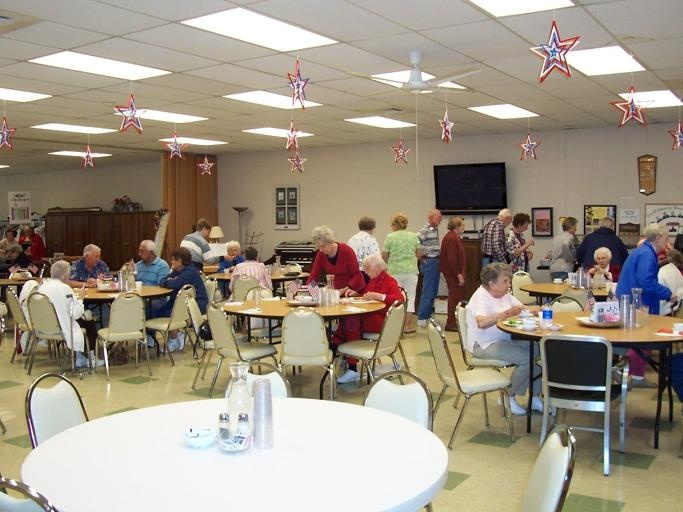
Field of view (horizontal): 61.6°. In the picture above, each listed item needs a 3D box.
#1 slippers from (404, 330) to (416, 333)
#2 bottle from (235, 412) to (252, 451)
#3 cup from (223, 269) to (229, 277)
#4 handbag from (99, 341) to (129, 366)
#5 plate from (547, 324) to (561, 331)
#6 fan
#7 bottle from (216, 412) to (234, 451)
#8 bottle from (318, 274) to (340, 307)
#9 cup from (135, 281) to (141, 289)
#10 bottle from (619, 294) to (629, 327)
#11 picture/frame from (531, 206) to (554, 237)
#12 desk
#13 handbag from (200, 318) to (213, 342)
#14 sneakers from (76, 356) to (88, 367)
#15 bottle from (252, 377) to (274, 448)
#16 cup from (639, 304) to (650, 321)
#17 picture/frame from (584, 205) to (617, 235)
[{"bbox_3d":[1.080,1.210,9.190,0.062,0.071,0.179,-4,-9,36],"label":"slippers"},{"bbox_3d":[-0.478,0.839,2.777,0.070,0.162,0.151,-1,7,-3],"label":"bottle"},{"bbox_3d":[-1.979,0.279,9.826,0.096,0.094,0.098,-4,2,0],"label":"cup"},{"bbox_3d":[-3.061,1.349,7.806,0.325,0.309,0.332,0,-1,-2],"label":"handbag"},{"bbox_3d":[1.811,0.610,4.898,0.060,0.025,0.059,5,11,30],"label":"plate"},{"bbox_3d":[0.819,-1.986,6.403,1.043,0.477,1.268,-1,4,-1],"label":"fan"},{"bbox_3d":[-0.548,0.840,2.730,0.088,0.176,0.049,-1,7,4],"label":"bottle"},{"bbox_3d":[-0.154,0.376,6.270,0.263,0.455,0.306,0,0,-7],"label":"bottle"},{"bbox_3d":[-2.699,0.388,7.612,0.091,0.070,0.092,-1,-2,0],"label":"cup"},{"bbox_3d":[2.432,0.473,4.937,0.084,0.267,0.141,2,7,21],"label":"bottle"},{"bbox_3d":[3.978,-0.700,11.377,0.567,0.858,0.038,1,3,32],"label":"picture/frame"},{"bbox_3d":[2.180,0.456,11.980,1.396,2.577,1.320,1,-3,11],"label":"desk"},{"bbox_3d":[-1.526,0.826,6.376,0.205,0.257,0.193,1,4,-1],"label":"handbag"},{"bbox_3d":[-3.306,1.349,7.290,0.150,0.151,0.114,1,0,2],"label":"sneakers"},{"bbox_3d":[-0.388,0.752,2.778,0.094,0.333,0.117,-2,7,-10],"label":"bottle"},{"bbox_3d":[2.791,0.526,5.317,0.095,0.161,0.098,-6,11,1],"label":"cup"},{"bbox_3d":[4.588,-0.654,10.166,0.616,0.732,0.026,2,0,36],"label":"picture/frame"}]
